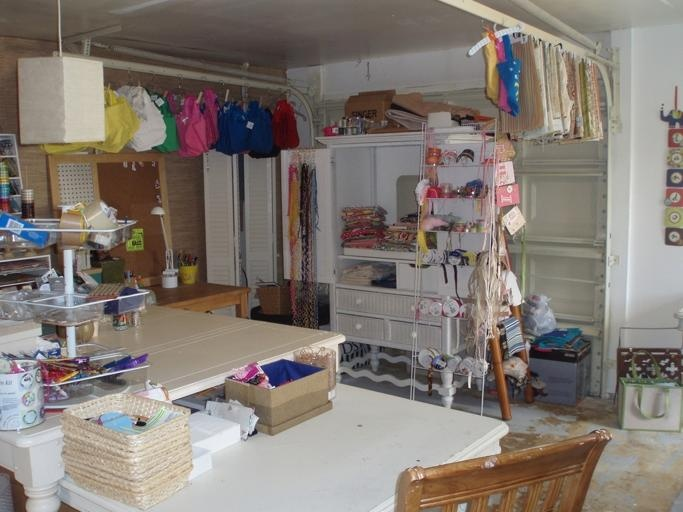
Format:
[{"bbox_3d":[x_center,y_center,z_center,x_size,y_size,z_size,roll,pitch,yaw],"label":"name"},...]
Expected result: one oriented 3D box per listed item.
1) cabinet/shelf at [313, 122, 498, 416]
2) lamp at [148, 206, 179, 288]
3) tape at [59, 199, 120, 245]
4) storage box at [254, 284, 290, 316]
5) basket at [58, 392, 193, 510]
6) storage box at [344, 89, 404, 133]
[{"bbox_3d":[0.712,0.018,4.376,1.723,2.482,0.678,7,10,39],"label":"cabinet/shelf"},{"bbox_3d":[-1.736,-0.052,5.253,0.203,0.902,0.262,8,10,39],"label":"lamp"},{"bbox_3d":[-0.975,-0.137,2.071,0.194,0.173,0.151,7,9,24],"label":"tape"},{"bbox_3d":[-0.755,0.498,5.891,0.396,0.315,0.319,-2,-5,14],"label":"storage box"},{"bbox_3d":[-0.706,0.619,1.741,0.409,0.260,0.234,5,10,27],"label":"basket"},{"bbox_3d":[0.285,-1.385,4.987,0.467,0.444,0.545,-10,14,-44],"label":"storage box"}]
